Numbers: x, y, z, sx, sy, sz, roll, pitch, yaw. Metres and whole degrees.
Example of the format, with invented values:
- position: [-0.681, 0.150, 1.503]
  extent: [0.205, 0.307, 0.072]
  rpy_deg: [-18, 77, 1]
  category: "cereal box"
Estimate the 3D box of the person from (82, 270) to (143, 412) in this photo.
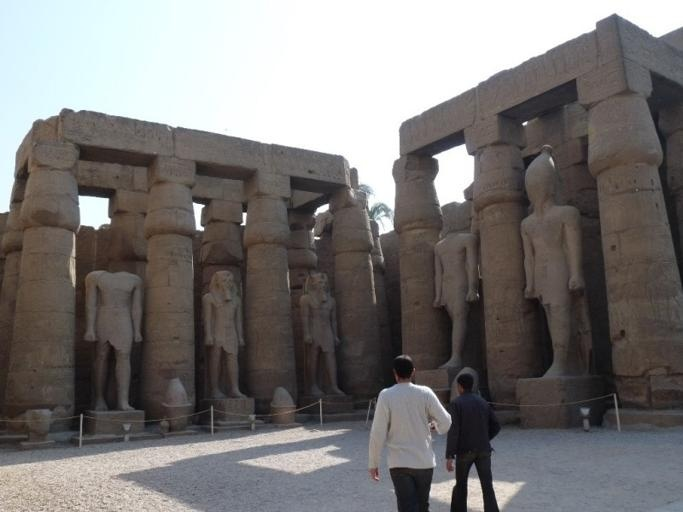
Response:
- position: [-4.710, 1.727, 14.349]
  extent: [1.135, 2.902, 0.522]
  rpy_deg: [2, -15, -21]
  category: "person"

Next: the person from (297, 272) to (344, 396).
- position: [-0.552, 1.945, 17.327]
  extent: [0.880, 3.062, 0.842]
  rpy_deg: [-5, -14, 5]
  category: "person"

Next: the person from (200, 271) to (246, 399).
- position: [-2.720, 1.790, 15.905]
  extent: [0.880, 2.873, 0.974]
  rpy_deg: [-3, -14, -1]
  category: "person"
